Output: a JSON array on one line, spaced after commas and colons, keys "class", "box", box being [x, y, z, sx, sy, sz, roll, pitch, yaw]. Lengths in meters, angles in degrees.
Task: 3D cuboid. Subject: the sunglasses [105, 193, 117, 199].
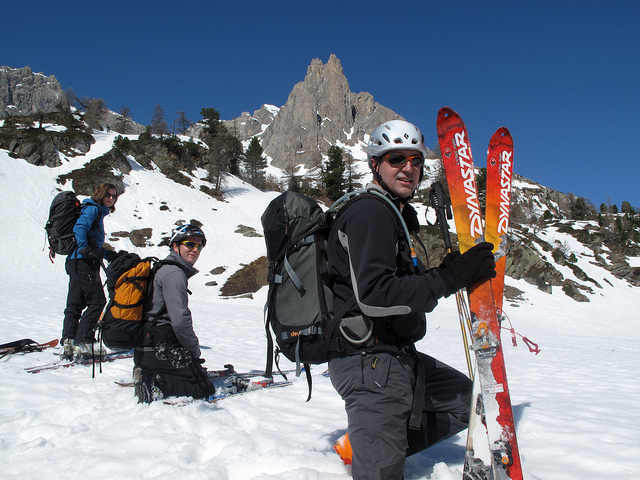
[{"class": "sunglasses", "box": [-3.668, -0.773, 9.150, 0.172, 0.097, 0.119, 2, -2, -28]}]

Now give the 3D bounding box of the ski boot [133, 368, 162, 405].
[{"class": "ski boot", "box": [-2.534, 2.092, 7.558, 0.341, 0.500, 0.477, 1, 0, 22]}]

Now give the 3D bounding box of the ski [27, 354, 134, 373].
[{"class": "ski", "box": [-3.972, 2.025, 8.487, 1.991, 0.106, 0.217, -3, -8, -33]}]

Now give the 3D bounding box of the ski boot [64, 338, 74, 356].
[{"class": "ski boot", "box": [-4.134, 1.773, 8.591, 0.165, 0.246, 0.226, 1, -4, -6]}]

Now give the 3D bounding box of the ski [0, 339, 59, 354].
[{"class": "ski", "box": [-4.991, 1.822, 8.891, 0.176, 0.155, 1.063, -5, -1, 44]}]

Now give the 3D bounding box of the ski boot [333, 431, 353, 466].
[{"class": "ski boot", "box": [0.291, 2.590, 6.428, 0.245, 0.398, 0.111, -18, -3, 40]}]
